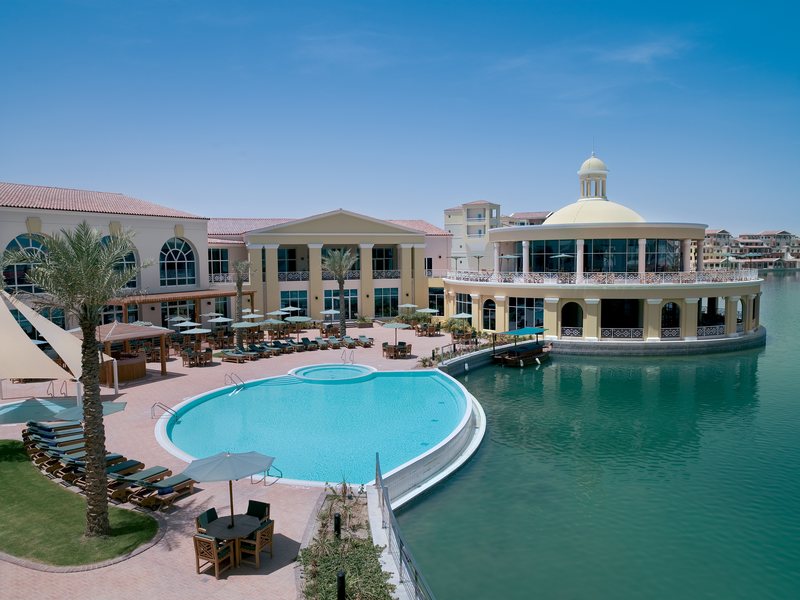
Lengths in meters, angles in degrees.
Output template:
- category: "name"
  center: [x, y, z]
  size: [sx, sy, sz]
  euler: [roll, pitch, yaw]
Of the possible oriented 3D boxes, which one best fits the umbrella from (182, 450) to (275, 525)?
- category: "umbrella"
  center: [-5.407, 6.243, 20.963]
  size: [2.921, 2.122, 2.694]
  euler: [-4, -1, 11]
